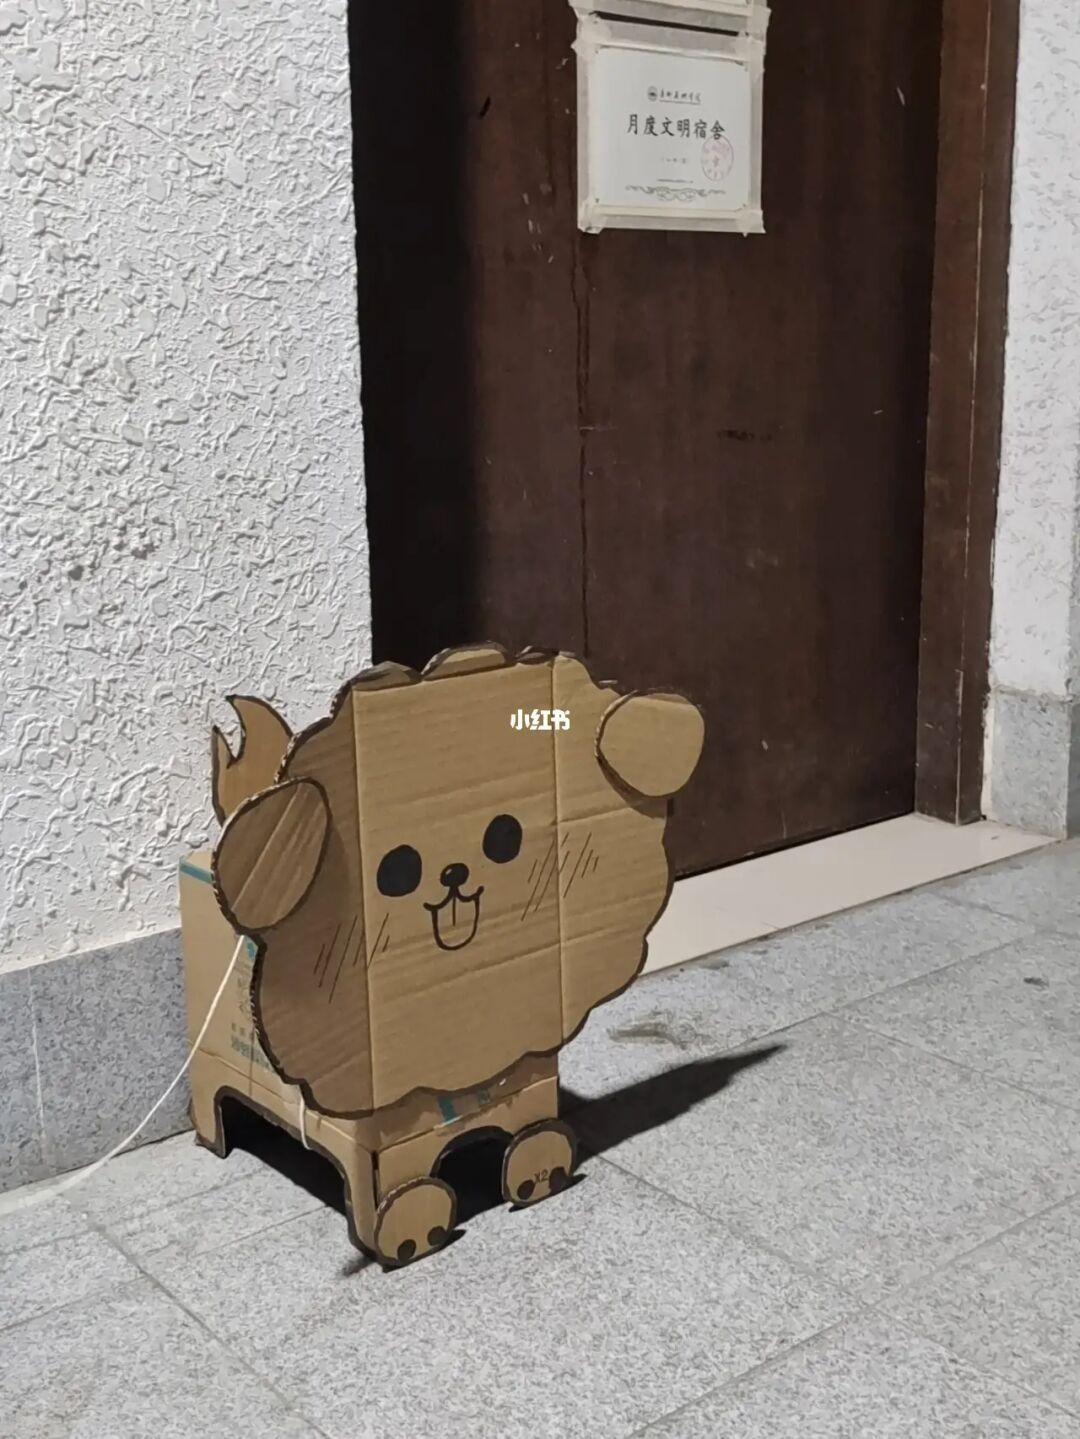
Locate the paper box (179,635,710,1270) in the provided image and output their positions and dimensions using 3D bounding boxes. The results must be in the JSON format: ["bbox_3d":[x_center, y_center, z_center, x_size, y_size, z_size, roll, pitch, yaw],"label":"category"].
[{"bbox_3d":[-0.189,0.289,2.034,0.740,0.807,0.397,-9,13,-36],"label":"paper box"}]
